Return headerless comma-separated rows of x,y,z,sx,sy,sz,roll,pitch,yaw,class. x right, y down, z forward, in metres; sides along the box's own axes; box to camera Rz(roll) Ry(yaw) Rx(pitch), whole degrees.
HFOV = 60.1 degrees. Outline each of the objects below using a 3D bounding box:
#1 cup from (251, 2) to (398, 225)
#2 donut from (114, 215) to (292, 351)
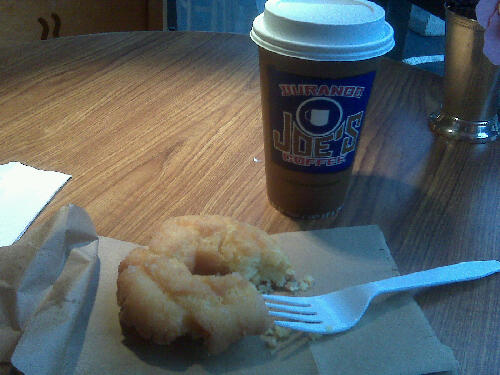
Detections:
0.136,-0.157,0.887,0.277,0.373,0.281,0,43,0,cup
-0.088,0.160,0.778,0.288,0.078,0.264,15,47,14,donut
